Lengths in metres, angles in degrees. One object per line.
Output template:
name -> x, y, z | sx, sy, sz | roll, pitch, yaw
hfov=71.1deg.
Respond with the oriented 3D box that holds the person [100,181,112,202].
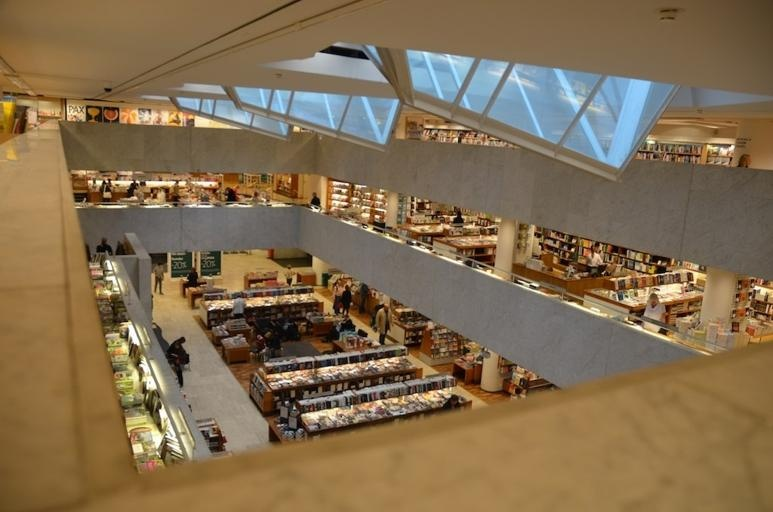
person -> -12.253, -2.821, 23.596 | 0.440, 0.776, 0.984 | -5, 12, -28
